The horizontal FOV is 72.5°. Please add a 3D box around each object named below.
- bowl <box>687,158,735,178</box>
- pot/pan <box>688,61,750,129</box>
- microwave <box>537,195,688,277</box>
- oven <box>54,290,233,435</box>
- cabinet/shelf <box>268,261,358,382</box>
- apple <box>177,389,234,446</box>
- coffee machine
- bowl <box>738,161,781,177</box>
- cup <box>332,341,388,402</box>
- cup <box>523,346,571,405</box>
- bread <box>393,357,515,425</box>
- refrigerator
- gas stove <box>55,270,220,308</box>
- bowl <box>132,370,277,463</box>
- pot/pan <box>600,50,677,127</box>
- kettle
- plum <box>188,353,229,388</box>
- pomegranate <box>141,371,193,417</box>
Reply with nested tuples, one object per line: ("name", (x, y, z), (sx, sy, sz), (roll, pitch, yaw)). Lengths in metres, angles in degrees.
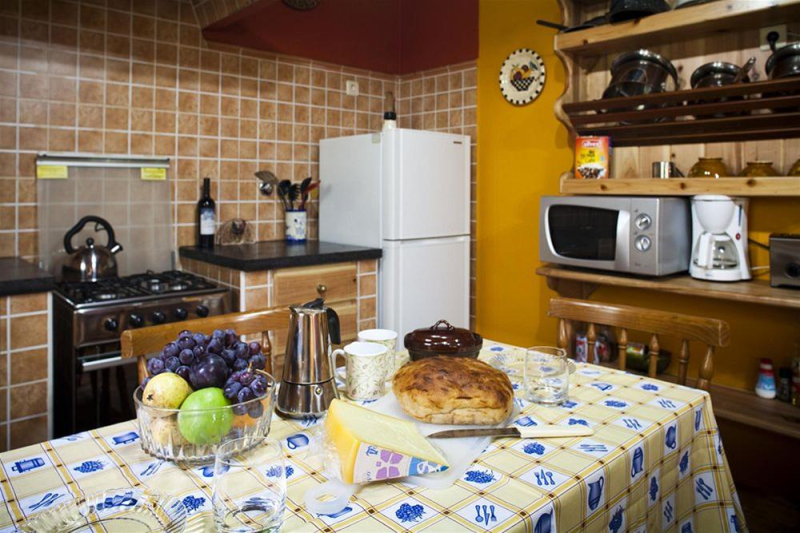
("bowl", (1.463, -0.452, 2.553), (0.148, 0.101, 0.156), (-1, -1, 0))
("pot/pan", (1.450, -0.813, 2.488), (0.248, 0.270, 0.354), (3, 9, 28))
("microwave", (1.030, -0.162, 2.652), (0.417, 0.375, 0.671), (-2, 6, -33))
("oven", (-1.394, 0.346, 2.888), (0.797, 0.709, 0.722), (-3, 13, -42))
("cabinet/shelf", (-0.569, 0.263, 3.157), (0.378, 0.667, 0.528), (1, 2, 41))
("apple", (-0.461, 0.356, 1.294), (0.135, 0.148, 0.124), (14, -26, -8))
("coffee machine", (1.464, -0.128, 2.491), (0.242, 0.395, 0.146), (2, 9, 28))
("bowl", (1.641, -0.410, 2.493), (0.135, 0.124, 0.126), (-2, 4, 0))
("cup", (-0.124, 0.306, 1.603), (0.190, 0.129, 0.124), (3, 4, 44))
("cup", (0.433, 0.310, 1.610), (0.148, 0.152, 0.146), (-1, 3, 0))
("bread", (0.115, 0.290, 1.528), (0.333, 0.159, 0.337), (-1, 8, -10))
("refrigerator", (-0.122, -0.223, 3.694), (0.957, 1.283, 0.831), (-5, 13, -38))
("gas stove", (-1.319, 0.078, 2.750), (0.609, 0.126, 0.594), (-4, 7, -42))
("bowl", (-0.480, 0.386, 1.442), (0.288, 0.201, 0.281), (5, 11, -1))
("pot/pan", (1.148, -0.864, 2.633), (0.340, 0.329, 0.270), (2, 9, 24))
("kettle", (-0.248, 0.263, 1.584), (0.164, 0.329, 0.175), (17, 14, 41))
("plum", (-0.475, 0.263, 1.382), (0.106, 0.102, 0.110), (-1, 21, -25))
("pomegranate", (-0.566, 0.300, 1.331), (0.113, 0.081, 0.105), (-1, 8, -30))
